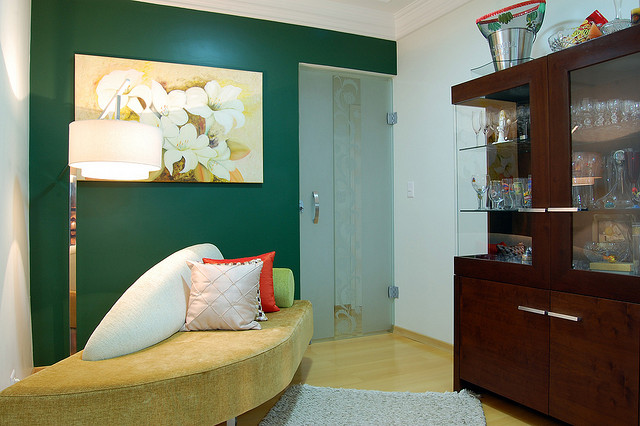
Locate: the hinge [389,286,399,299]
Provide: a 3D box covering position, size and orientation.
[{"bbox_3d":[0.772,0.832,4.800,0.140,0.143,0.099,1,-1,-10],"label":"hinge"}]

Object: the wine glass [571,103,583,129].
[{"bbox_3d":[1.650,-0.627,2.941,0.066,0.165,0.023,2,6,9],"label":"wine glass"}]

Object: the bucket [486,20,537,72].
[{"bbox_3d":[1.373,-1.206,3.325,0.331,0.339,0.342,2,1,0],"label":"bucket"}]

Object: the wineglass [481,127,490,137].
[{"bbox_3d":[1.246,-0.616,3.440,0.070,0.030,0.070,0,1,12],"label":"wineglass"}]

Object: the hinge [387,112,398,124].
[{"bbox_3d":[0.757,-1.005,4.811,0.141,0.135,0.034,-1,1,7],"label":"hinge"}]

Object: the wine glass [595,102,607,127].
[{"bbox_3d":[1.767,-0.621,2.877,0.058,0.154,0.022,4,7,26],"label":"wine glass"}]
